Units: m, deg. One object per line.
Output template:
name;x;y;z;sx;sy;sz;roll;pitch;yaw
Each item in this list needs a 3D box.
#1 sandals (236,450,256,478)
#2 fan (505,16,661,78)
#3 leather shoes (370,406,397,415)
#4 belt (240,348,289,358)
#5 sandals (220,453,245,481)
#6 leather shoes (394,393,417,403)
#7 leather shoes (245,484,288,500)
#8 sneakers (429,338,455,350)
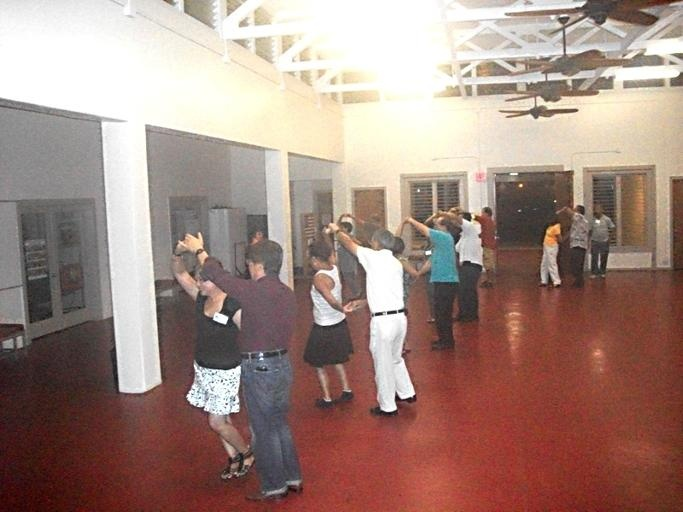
sandals;-0.783;1.673;4.282;0.135;0.122;0.297;-1;12;5
fan;3.162;-2.557;7.213;1.647;0.700;1.537;-8;14;2
leather shoes;0.417;1.548;5.198;0.257;0.102;0.095;6;8;14
belt;-0.568;0.718;3.813;0.320;0.066;0.089;-3;8;-4
sandals;-0.883;1.721;4.222;0.133;0.089;0.242;-2;-5;4
leather shoes;0.679;1.485;5.425;0.248;0.119;0.082;2;5;9
leather shoes;-0.558;1.812;3.980;0.279;0.083;0.107;3;2;1
sneakers;1.403;1.233;7.219;0.246;0.098;0.145;4;2;-1
